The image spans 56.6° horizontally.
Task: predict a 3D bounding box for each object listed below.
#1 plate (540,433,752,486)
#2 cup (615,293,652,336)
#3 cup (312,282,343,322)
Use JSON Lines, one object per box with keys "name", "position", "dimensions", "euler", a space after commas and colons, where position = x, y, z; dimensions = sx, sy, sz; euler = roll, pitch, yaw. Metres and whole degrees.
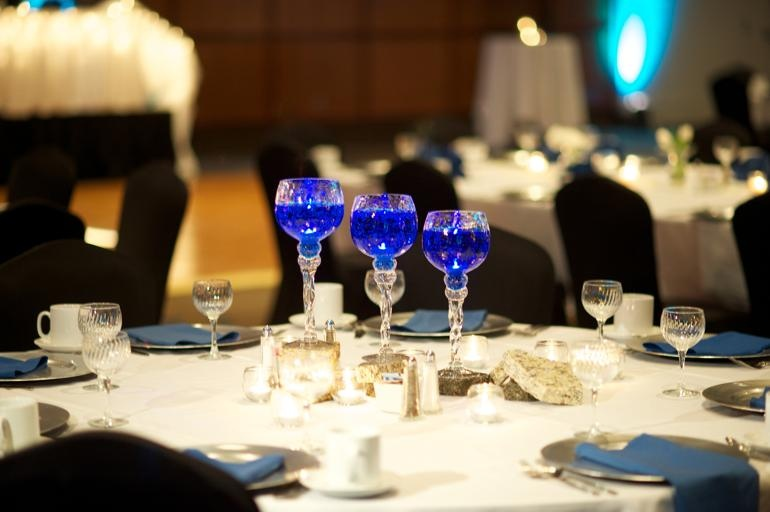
{"name": "plate", "position": [0.482, 0.366, 1.326], "dimensions": [0.379, 0.037, 0.204], "euler": [2, 12, 11]}
{"name": "cup", "position": [0.739, 0.174, 2.176], "dimensions": [0.107, 0.133, 0.130], "euler": [0, 1, -2]}
{"name": "cup", "position": [-0.188, 0.143, 2.276], "dimensions": [0.086, 0.105, 0.102], "euler": [5, 8, 38]}
